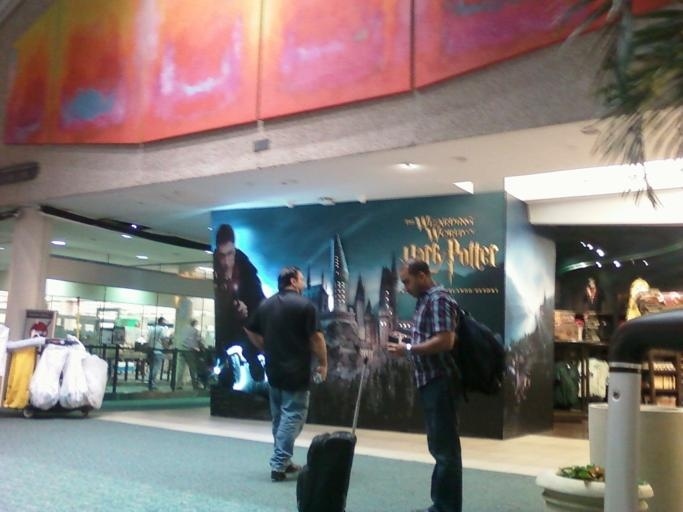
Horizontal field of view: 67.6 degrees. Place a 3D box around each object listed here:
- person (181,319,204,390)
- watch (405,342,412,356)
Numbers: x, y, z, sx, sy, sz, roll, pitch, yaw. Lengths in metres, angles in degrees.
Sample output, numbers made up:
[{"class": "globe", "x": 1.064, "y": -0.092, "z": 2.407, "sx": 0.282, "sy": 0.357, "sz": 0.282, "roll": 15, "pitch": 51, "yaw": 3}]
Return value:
[{"class": "person", "x": -3.847, "y": 2.563, "z": 13.068, "sx": 0.552, "sy": 1.579, "sz": 2.415, "roll": 7, "pitch": -12, "yaw": -17}, {"class": "watch", "x": 0.483, "y": 0.656, "z": 3.678, "sx": 0.070, "sy": 0.058, "sz": 0.103, "roll": -3, "pitch": -12, "yaw": 7}]
